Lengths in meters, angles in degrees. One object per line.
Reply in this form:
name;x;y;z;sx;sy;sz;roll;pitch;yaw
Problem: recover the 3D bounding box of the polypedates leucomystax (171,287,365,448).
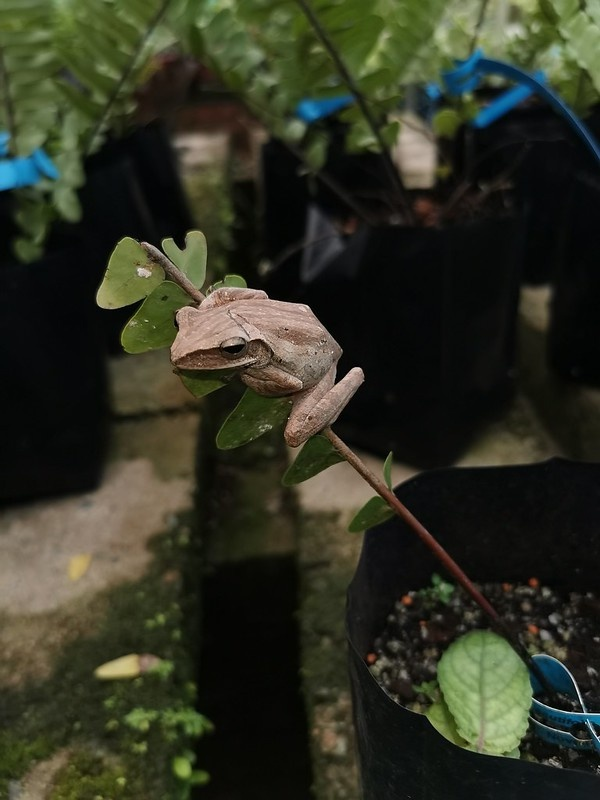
polypedates leucomystax;-0.044;-0.058;0.905;0.223;0.105;0.220;-21;52;-34
